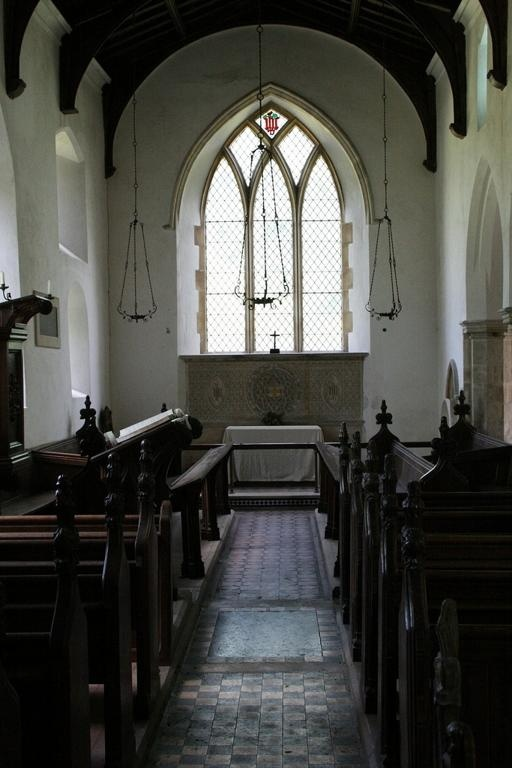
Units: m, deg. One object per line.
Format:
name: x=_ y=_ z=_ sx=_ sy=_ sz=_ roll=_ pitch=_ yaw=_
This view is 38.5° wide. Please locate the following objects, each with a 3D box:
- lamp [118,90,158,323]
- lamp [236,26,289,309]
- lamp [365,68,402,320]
lamp: x=-1.845 y=-2.721 z=11.424 sx=0.599 sy=3.507 sz=0.190 roll=0 pitch=0 yaw=10
lamp: x=0.083 y=-3.310 z=11.753 sx=0.847 sy=4.232 sz=2.083 roll=0 pitch=0 yaw=0
lamp: x=1.940 y=-2.793 z=11.291 sx=0.534 sy=3.983 sz=0.331 roll=0 pitch=0 yaw=12
